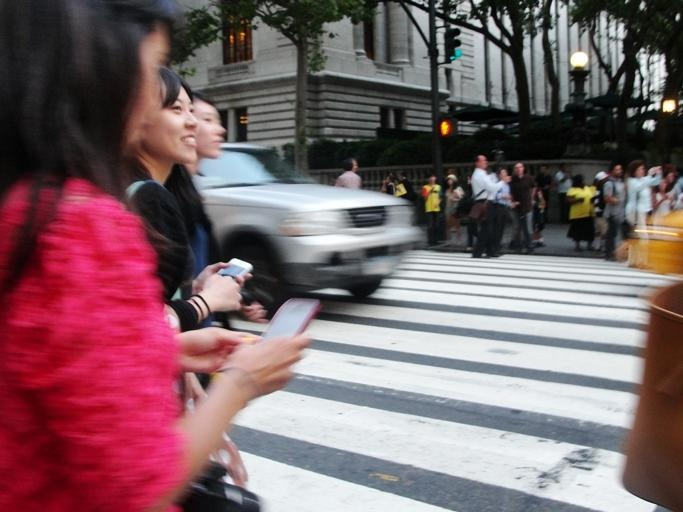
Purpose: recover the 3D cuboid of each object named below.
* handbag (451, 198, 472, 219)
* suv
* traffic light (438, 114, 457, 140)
[{"bbox_3d":[2.813,-1.085,13.710,0.354,0.465,0.829,0,7,3],"label":"handbag"},{"bbox_3d":[-1.008,-0.506,7.942,3.178,1.321,1.659,4,8,33],"label":"suv"},{"bbox_3d":[3.027,-3.675,17.133,0.355,0.549,0.757,2,7,24],"label":"traffic light"}]
